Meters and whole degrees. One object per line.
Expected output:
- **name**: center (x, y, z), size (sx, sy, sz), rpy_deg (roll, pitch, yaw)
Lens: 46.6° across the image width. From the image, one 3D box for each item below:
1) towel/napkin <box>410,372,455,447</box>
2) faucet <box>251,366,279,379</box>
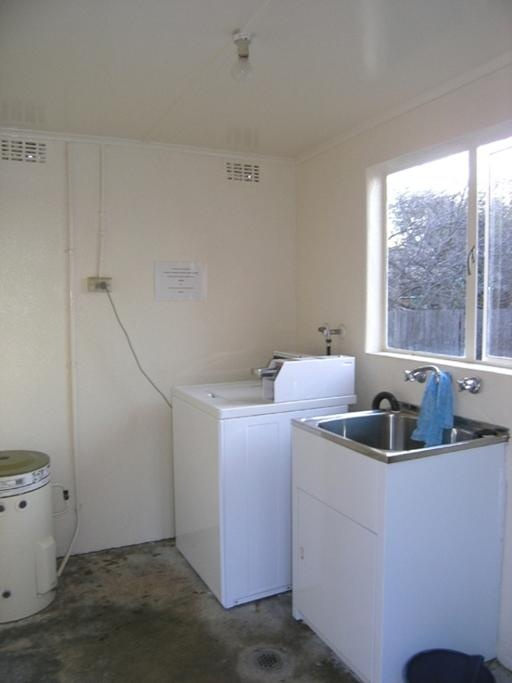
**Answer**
- **towel/napkin**: center (0.675, 0.248, 2.249), size (0.143, 0.274, 0.105), rpy_deg (-1, 7, 1)
- **faucet**: center (0.049, 0.143, 2.739), size (0.113, 0.053, 0.098), rpy_deg (-1, 7, 3)
